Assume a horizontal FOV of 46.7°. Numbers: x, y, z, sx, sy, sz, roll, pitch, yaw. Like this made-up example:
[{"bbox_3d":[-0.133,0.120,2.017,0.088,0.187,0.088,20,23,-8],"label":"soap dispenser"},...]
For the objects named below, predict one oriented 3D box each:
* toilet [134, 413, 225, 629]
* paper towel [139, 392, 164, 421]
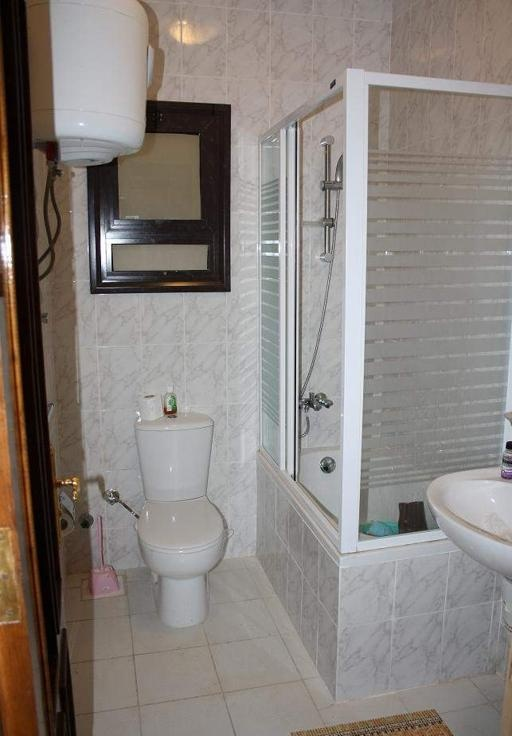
[{"bbox_3d":[-0.336,0.663,2.600,0.364,0.813,0.628,-2,7,-10],"label":"toilet"},{"bbox_3d":[-0.477,0.139,2.736,0.089,0.163,0.168,-3,9,-13],"label":"paper towel"}]
